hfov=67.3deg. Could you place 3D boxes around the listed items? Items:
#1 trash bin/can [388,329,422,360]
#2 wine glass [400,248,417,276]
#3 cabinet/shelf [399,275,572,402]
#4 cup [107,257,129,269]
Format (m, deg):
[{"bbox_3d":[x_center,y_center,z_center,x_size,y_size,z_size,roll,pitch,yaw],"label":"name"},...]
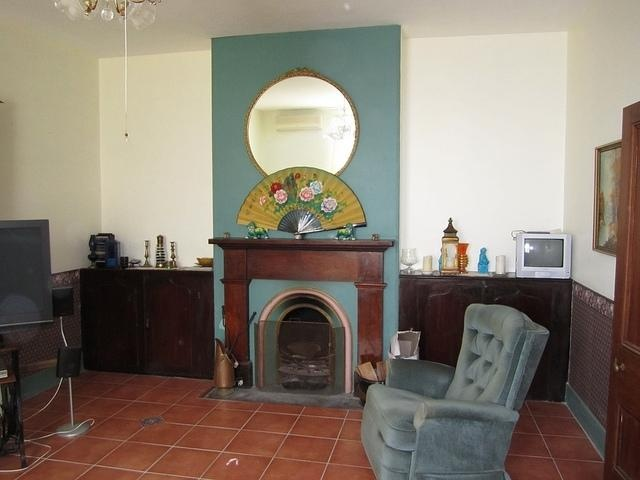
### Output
[{"bbox_3d":[0.846,1.011,4.773,0.218,0.310,0.286,4,3,23],"label":"trash bin/can"},{"bbox_3d":[0.953,0.213,5.167,0.189,0.270,0.309,2,10,11],"label":"wine glass"},{"bbox_3d":[1.530,0.862,4.238,1.060,1.009,0.359,2,5,11],"label":"cabinet/shelf"},{"bbox_3d":[-2.345,0.273,5.612,0.202,0.125,0.150,3,-12,-8],"label":"cup"}]
